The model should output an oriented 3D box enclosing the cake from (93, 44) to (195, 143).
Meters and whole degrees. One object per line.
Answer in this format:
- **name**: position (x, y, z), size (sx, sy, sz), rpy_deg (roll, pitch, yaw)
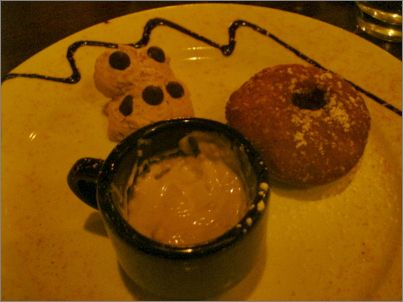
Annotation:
- **cake**: position (-0.211, -0.217, 1.296), size (0.286, 0.142, 0.366), rpy_deg (-9, 66, -10)
